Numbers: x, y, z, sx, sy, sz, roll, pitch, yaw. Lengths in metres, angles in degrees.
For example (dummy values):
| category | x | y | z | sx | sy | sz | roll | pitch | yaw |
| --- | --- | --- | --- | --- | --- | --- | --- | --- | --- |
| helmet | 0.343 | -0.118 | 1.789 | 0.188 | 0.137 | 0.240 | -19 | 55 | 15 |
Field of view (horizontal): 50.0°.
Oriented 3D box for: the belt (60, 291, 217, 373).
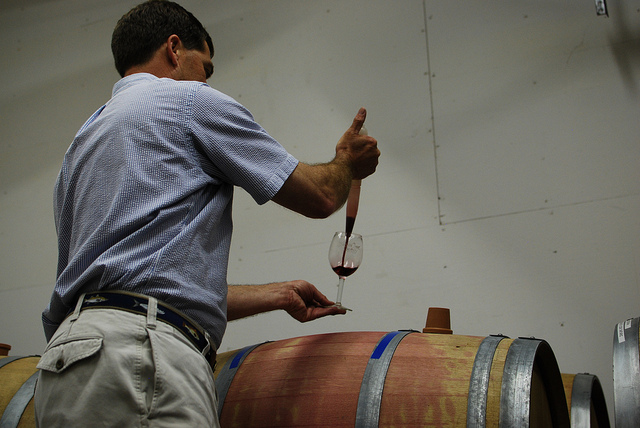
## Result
| category | x | y | z | sx | sy | sz | roll | pitch | yaw |
| --- | --- | --- | --- | --- | --- | --- | --- | --- | --- |
| belt | -0.649 | 0.427 | 2.533 | 0.542 | 0.259 | 0.216 | 7 | -12 | -23 |

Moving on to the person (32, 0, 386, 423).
| category | x | y | z | sx | sy | sz | roll | pitch | yaw |
| --- | --- | --- | --- | --- | --- | --- | --- | --- | --- |
| person | -0.476 | -0.010 | 2.873 | 1.217 | 1.735 | 0.893 | 9 | -13 | -35 |

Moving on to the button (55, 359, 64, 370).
| category | x | y | z | sx | sy | sz | roll | pitch | yaw |
| --- | --- | --- | --- | --- | --- | --- | --- | --- | --- |
| button | -0.923 | 0.530 | 2.433 | 0.032 | 0.035 | 0.006 | -3 | -11 | 22 |
